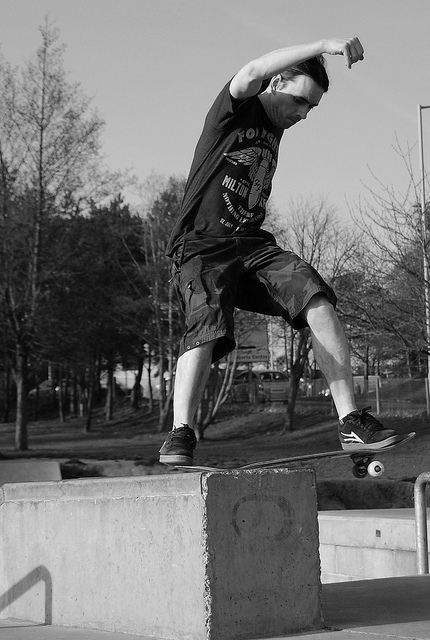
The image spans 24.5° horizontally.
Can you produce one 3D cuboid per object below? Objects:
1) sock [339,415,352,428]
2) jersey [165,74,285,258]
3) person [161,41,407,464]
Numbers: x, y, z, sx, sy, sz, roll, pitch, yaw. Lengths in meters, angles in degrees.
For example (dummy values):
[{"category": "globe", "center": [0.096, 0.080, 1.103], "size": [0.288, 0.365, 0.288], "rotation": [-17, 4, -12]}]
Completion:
[{"category": "sock", "center": [0.465, 0.363, 3.555], "size": [0.059, 0.025, 0.020], "rotation": [-36, 5, -12]}, {"category": "jersey", "center": [0.056, -0.562, 3.764], "size": [0.374, 0.661, 0.401], "rotation": [9, -7, -4]}, {"category": "person", "center": [0.195, -0.252, 3.686], "size": [0.610, 1.640, 0.769], "rotation": [15, -9, -43]}]
